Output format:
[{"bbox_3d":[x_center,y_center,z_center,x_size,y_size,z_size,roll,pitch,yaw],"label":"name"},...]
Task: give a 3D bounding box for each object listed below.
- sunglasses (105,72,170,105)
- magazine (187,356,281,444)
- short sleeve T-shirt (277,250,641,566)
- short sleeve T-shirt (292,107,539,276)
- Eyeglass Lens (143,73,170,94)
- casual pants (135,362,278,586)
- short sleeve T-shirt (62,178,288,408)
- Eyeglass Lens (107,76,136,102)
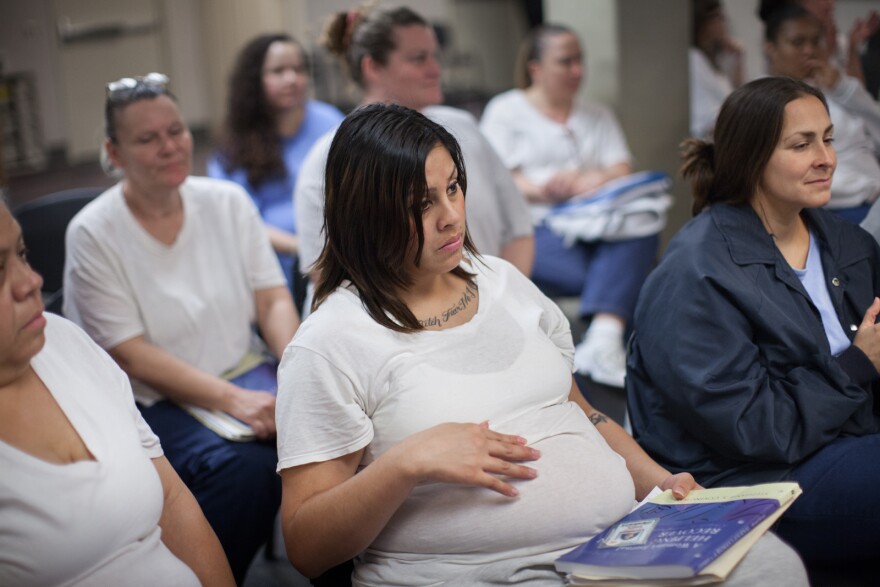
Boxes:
[{"bbox_3d":[-0.993,-0.690,2.804,0.164,0.041,0.104,-17,17,-26],"label":"sunglasses"},{"bbox_3d":[-0.681,0.354,3.039,0.273,0.071,0.292,19,23,36],"label":"magazine"},{"bbox_3d":[-0.037,0.338,2.520,1.039,0.824,0.761,-11,2,-41],"label":"short sleeve T-shirt"},{"bbox_3d":[-0.050,-0.326,2.850,0.750,0.530,0.366,-17,16,-12],"label":"short sleeve T-shirt"},{"bbox_3d":[-0.940,-0.706,2.826,0.077,0.031,0.077,24,36,-2],"label":"Eyeglass Lens"},{"bbox_3d":[-0.707,0.619,2.926,0.188,0.641,0.640,-18,-6,20],"label":"casual pants"},{"bbox_3d":[-0.929,0.011,2.936,0.651,0.636,0.346,-20,19,-39],"label":"short sleeve T-shirt"},{"bbox_3d":[-1.032,-0.673,2.791,0.057,0.028,0.098,25,56,15],"label":"Eyeglass Lens"}]
